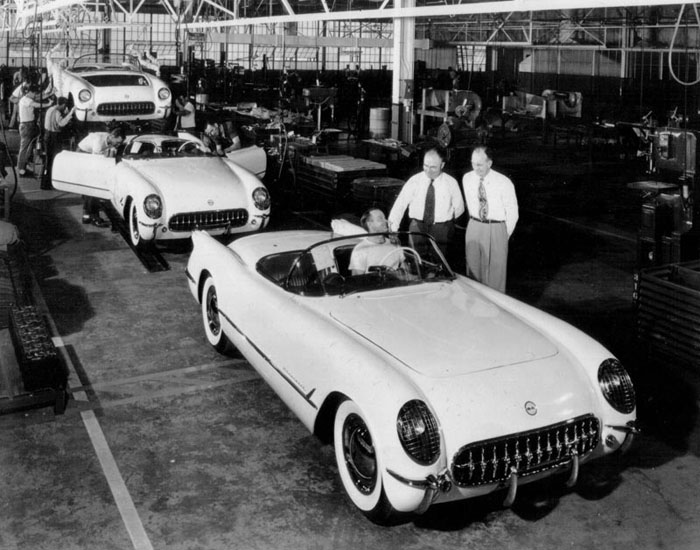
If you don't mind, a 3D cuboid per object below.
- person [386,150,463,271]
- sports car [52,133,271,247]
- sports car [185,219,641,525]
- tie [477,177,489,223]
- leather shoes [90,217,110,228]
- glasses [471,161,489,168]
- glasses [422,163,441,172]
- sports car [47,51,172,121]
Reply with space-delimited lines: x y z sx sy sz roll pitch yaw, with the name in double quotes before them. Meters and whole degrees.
"person" 0.852 -0.479 7.268 0.911 2.009 0.843 -4 50 3
"sports car" -2.913 -1.421 9.556 2.049 0.980 2.503 -10 27 -32
"sports car" 0.325 0.592 4.979 1.900 1.473 3.609 -15 24 -39
"tie" 1.383 -0.778 6.495 0.125 0.431 0.028 13 19 42
"leather shoes" -4.477 -0.926 11.085 0.184 0.131 0.275 -12 29 -34
"glasses" 1.341 -1.138 6.432 0.171 0.084 0.171 5 19 16
"glasses" 0.891 -1.175 6.790 0.184 0.109 0.137 0 17 0
"sports car" -6.400 -4.951 16.312 2.505 1.464 6.699 -9 21 -25
